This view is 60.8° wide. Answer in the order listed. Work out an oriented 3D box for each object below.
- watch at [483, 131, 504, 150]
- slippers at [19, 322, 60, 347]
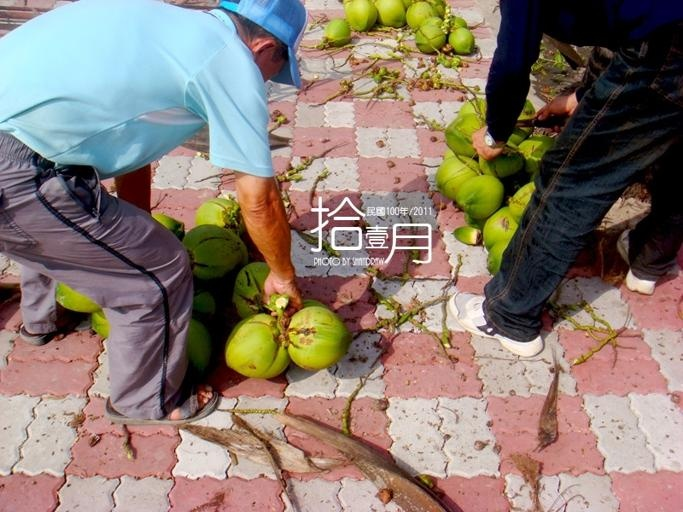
[{"bbox_3d":[0.864,-0.672,3.373,0.105,0.052,0.084,6,30,-43],"label":"watch"},{"bbox_3d":[-1.867,0.490,3.599,0.178,0.050,0.157,-11,29,-19],"label":"slippers"}]
